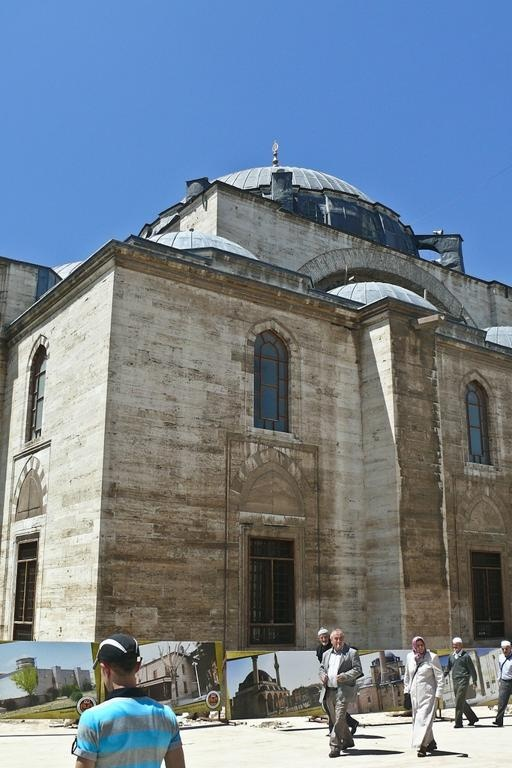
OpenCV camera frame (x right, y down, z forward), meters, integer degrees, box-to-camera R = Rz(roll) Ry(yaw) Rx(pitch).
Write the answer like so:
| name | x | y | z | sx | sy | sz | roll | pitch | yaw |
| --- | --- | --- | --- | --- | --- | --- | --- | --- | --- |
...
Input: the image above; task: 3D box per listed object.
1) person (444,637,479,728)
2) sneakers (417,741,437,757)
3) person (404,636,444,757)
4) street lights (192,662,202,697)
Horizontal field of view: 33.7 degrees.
| name | x | y | z | sx | sy | sz | roll | pitch | yaw |
| --- | --- | --- | --- | --- | --- | --- | --- | --- | --- |
| person | 3.079 | 4.414 | 12.669 | 0.463 | 1.200 | 1.437 | -6 | -17 | 12 |
| sneakers | 1.890 | 3.998 | 9.329 | 0.165 | 0.119 | 0.666 | -10 | -18 | 24 |
| person | 1.945 | 3.535 | 9.718 | 0.433 | 1.218 | 0.958 | -5 | -17 | 9 |
| street lights | -0.804 | 4.004 | 11.529 | 0.132 | 0.441 | 0.032 | 12 | -22 | -39 |
